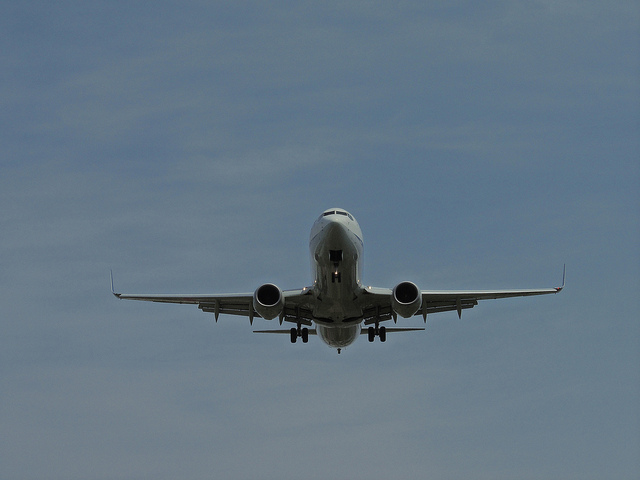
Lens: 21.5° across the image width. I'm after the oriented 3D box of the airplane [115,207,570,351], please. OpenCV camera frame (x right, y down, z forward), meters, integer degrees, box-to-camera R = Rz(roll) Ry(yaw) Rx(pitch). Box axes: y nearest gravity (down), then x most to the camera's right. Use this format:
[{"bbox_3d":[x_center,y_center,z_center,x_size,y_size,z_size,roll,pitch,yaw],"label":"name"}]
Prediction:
[{"bbox_3d":[0.968,0.445,74.805,15.782,6.764,21.950,1,-9,-5],"label":"airplane"}]
